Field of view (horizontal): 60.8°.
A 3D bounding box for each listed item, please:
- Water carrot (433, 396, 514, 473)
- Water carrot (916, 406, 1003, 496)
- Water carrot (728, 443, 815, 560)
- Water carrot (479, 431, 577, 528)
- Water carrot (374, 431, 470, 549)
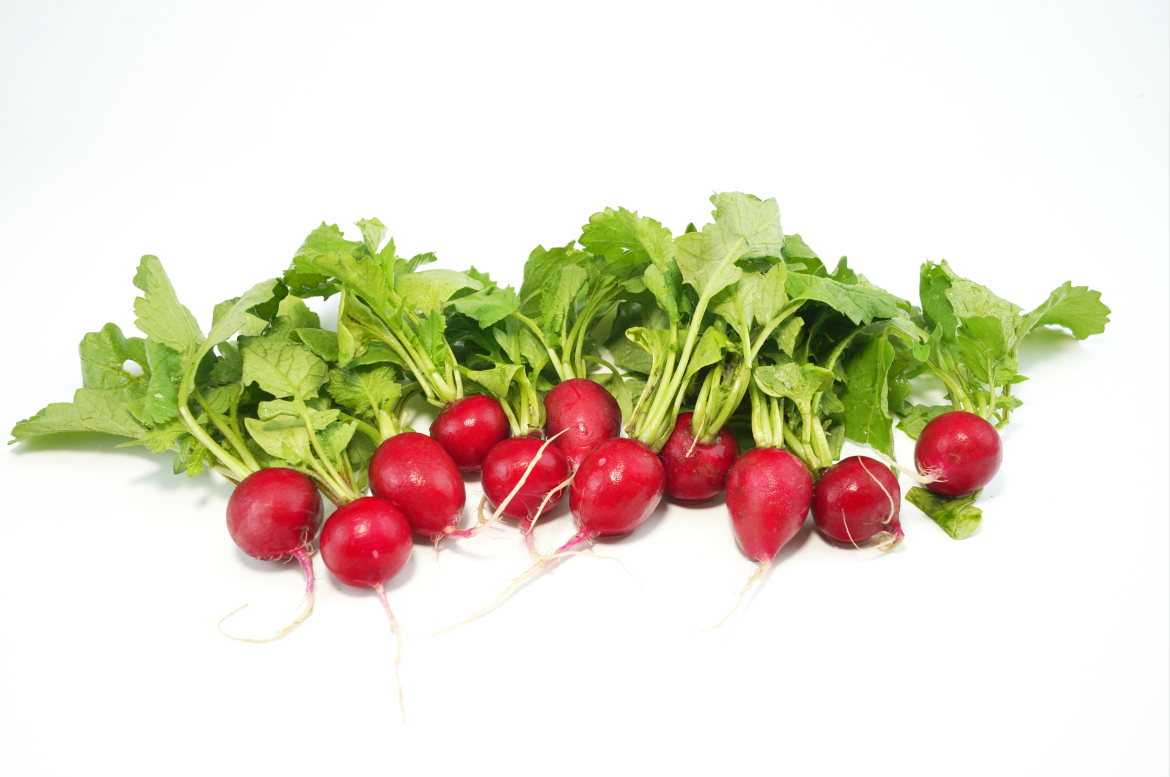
[{"bbox_3d":[-0.459,0.189,4.076,0.309,0.288,0.293,-1,2,-7],"label":"Water carrot"},{"bbox_3d":[1.481,0.298,4.010,0.271,0.265,0.364,-38,-2,44],"label":"Water carrot"},{"bbox_3d":[0.677,0.444,3.865,0.320,0.405,0.310,17,-10,-19],"label":"Water carrot"},{"bbox_3d":[-0.210,0.356,3.956,0.348,0.349,0.346,-6,-40,-4],"label":"Water carrot"},{"bbox_3d":[-0.603,0.383,3.949,0.288,0.463,0.279,-38,-20,8],"label":"Water carrot"}]
